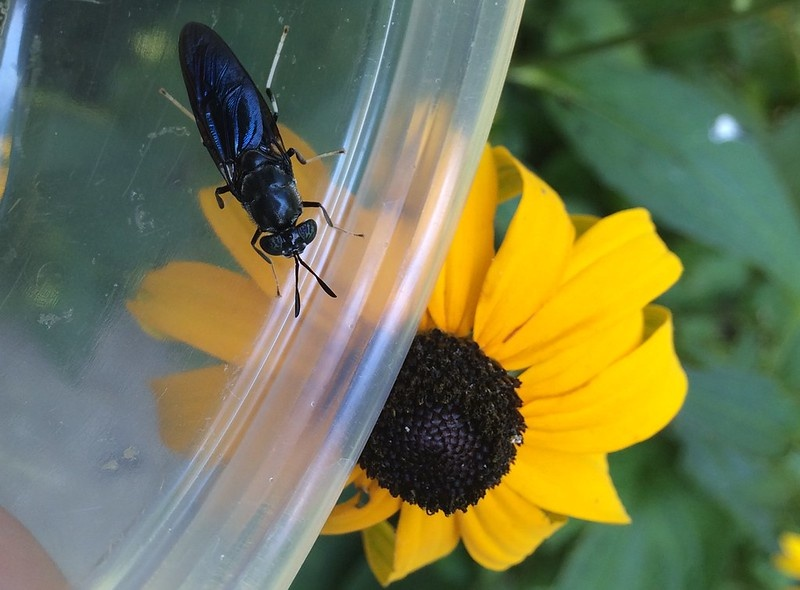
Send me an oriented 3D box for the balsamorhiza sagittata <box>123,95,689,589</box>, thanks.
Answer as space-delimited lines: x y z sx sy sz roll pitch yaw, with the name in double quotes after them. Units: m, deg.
0.116 -0.017 1.500 0.787 0.273 0.813 -38 98 15 "balsamorhiza sagittata"
